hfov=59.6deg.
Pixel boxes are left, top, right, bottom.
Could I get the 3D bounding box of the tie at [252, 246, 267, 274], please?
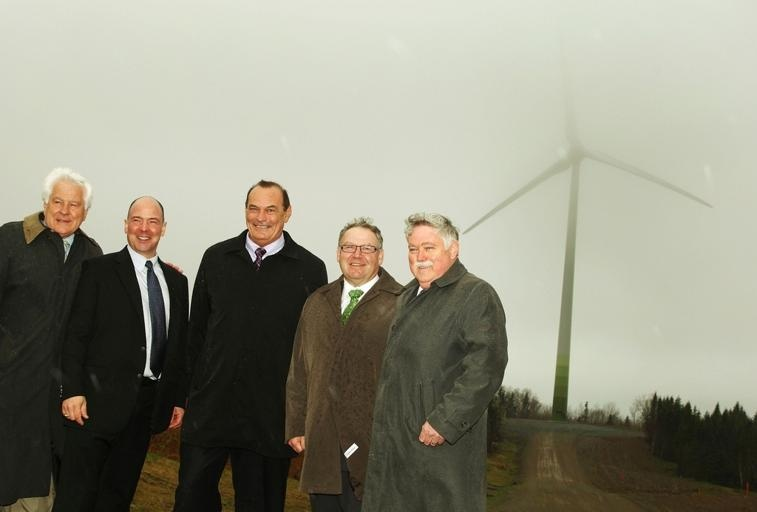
[{"bbox_3d":[-1.462,0.020,8.005,0.166,0.249,0.080,0,-6,3],"label":"tie"}]
